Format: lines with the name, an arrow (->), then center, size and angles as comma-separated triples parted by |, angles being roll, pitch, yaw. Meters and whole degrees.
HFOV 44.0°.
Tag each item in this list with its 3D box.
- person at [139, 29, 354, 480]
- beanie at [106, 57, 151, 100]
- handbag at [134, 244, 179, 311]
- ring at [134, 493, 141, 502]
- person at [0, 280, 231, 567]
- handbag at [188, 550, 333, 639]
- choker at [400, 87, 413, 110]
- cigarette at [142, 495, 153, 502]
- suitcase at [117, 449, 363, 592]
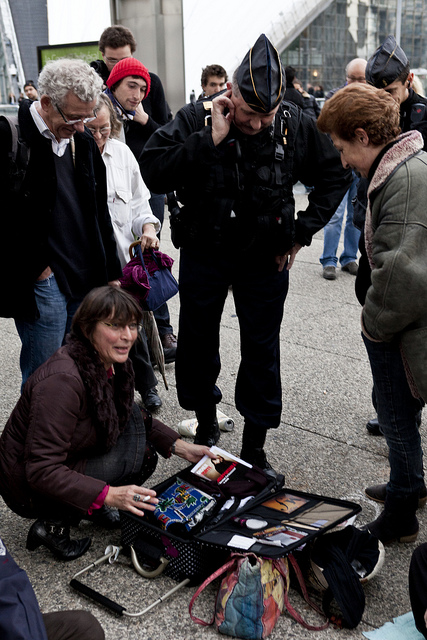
person -> 0.118, -0.219, 2.422 | 0.771, 1.982, 0.618 | 5, 21, 10
beanie -> -0.579, -1.671, 3.653 | 0.224, 0.211, 0.221 | 0, 11, -30
handbag -> -0.308, -0.241, 2.803 | 0.286, 0.314, 0.230 | 25, 32, 38
ring -> -0.266, 0.620, 1.856 | 0.022, 0.031, 0.018 | -3, 12, -10
person -> -0.383, 0.406, 2.000 | 0.496, 1.051, 0.742 | 10, 16, 43
handbag -> 0.140, 0.876, 1.721 | 0.321, 0.202, 0.313 | -1, -5, 19
choker -> 1.157, -1.327, 3.184 | 0.061, 0.110, 0.084 | 12, -4, -21
cigarette -> -0.230, 0.622, 1.852 | 0.031, 0.018, 0.008 | -28, -19, 28
suitcase -> 0.082, 0.843, 2.237 | 0.854, 0.315, 1.162 | 6, 0, -8
